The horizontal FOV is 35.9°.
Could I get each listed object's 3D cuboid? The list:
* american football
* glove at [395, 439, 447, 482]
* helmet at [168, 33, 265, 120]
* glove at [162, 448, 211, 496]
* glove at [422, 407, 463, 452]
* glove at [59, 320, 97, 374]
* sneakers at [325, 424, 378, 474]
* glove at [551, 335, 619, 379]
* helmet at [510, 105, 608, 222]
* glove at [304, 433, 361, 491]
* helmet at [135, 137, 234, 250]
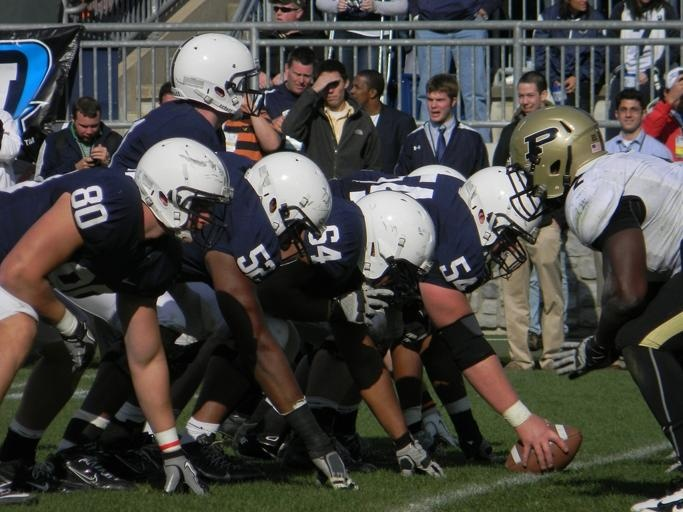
[{"bbox_3d":[1.277,1.274,6.588,0.379,0.284,0.289,-16,-18,-7],"label":"american football"},{"bbox_3d":[0.480,1.299,6.725,0.387,0.376,0.153,-1,10,-2],"label":"glove"},{"bbox_3d":[-0.897,-1.248,7.319,0.544,0.617,0.455,2,5,-21],"label":"helmet"},{"bbox_3d":[-0.909,1.263,6.244,0.301,0.347,0.122,4,28,8],"label":"glove"},{"bbox_3d":[0.752,1.253,7.662,0.418,0.232,0.144,0,-7,-26],"label":"glove"},{"bbox_3d":[-1.468,0.535,6.162,0.256,0.175,0.207,8,-32,47],"label":"glove"},{"bbox_3d":[0.091,1.343,7.022,0.471,0.200,0.150,45,6,-19],"label":"sneakers"},{"bbox_3d":[1.469,0.647,6.398,0.290,0.110,0.257,-3,20,26],"label":"glove"},{"bbox_3d":[1.331,-0.588,6.492,0.548,0.700,0.477,4,1,17],"label":"helmet"},{"bbox_3d":[-0.048,1.345,6.382,0.168,0.115,0.312,-4,58,-40],"label":"glove"},{"bbox_3d":[-0.925,-0.441,6.159,0.516,0.554,0.442,21,11,8],"label":"helmet"}]
